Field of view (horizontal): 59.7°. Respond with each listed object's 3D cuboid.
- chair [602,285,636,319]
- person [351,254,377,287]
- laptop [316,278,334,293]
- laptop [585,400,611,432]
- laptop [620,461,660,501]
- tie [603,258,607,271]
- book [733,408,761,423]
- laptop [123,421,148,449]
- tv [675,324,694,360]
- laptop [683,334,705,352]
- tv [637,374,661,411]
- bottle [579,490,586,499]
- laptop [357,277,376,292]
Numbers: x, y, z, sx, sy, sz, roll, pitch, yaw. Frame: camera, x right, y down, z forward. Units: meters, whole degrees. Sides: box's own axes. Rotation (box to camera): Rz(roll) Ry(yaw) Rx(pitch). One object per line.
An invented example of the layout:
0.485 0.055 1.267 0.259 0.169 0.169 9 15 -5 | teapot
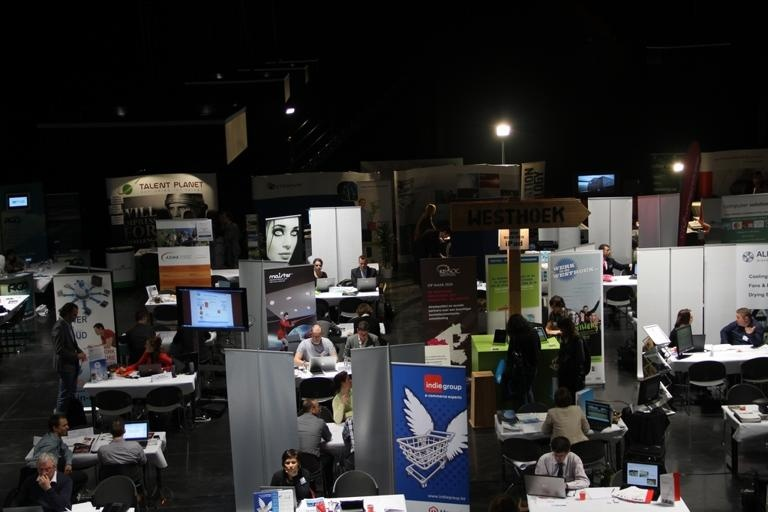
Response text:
5.914 1.065 16.884 0.777 1.060 0.835 0 19 6 | chair
-0.569 0.362 17.439 0.693 1.212 0.709 -1 4 -1 | person
-1.527 0.696 17.021 0.432 0.281 0.299 -1 4 -30 | laptop
3.502 2.568 11.013 0.474 0.409 0.449 3 7 11 | laptop
3.700 3.176 9.672 0.527 0.425 0.474 4 2 10 | laptop
5.954 0.230 17.825 0.082 0.306 0.214 0 5 29 | tie
5.998 2.596 10.939 0.397 0.101 0.357 -2 5 11 | book
-4.150 2.924 11.090 0.430 0.338 0.287 1 8 -9 | laptop
5.882 1.675 13.011 0.584 0.632 0.217 -7 2 -39 | tv
6.141 1.695 13.146 0.429 0.306 0.319 0 3 2 | laptop
4.583 2.336 11.455 0.508 0.429 0.175 -6 10 -38 | tv
2.866 3.409 9.600 0.079 0.088 0.074 -4 10 8 | bottle
-0.453 0.638 16.991 0.448 0.296 0.315 0 4 -3 | laptop
